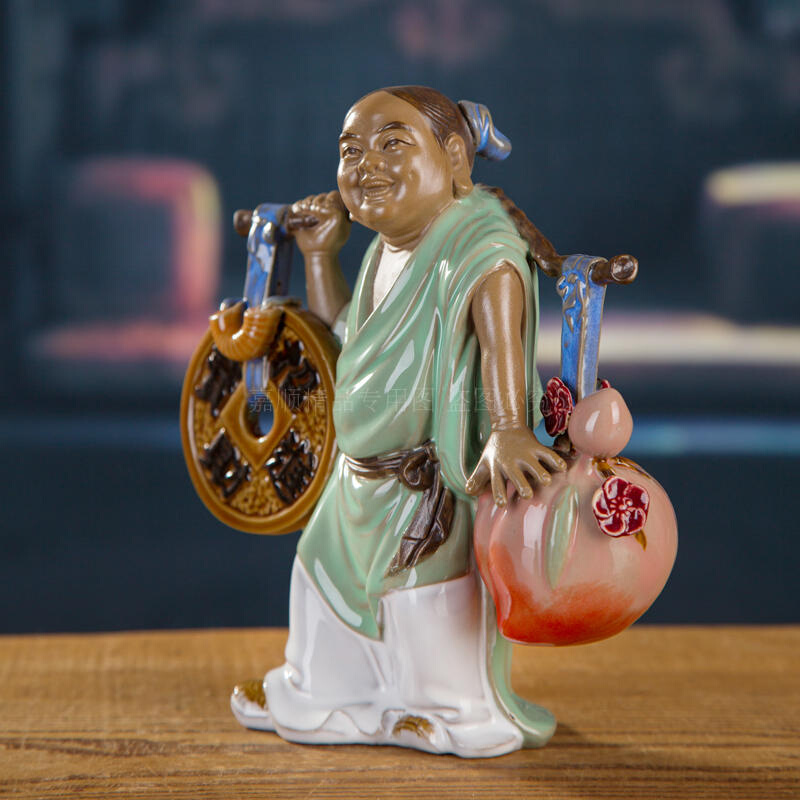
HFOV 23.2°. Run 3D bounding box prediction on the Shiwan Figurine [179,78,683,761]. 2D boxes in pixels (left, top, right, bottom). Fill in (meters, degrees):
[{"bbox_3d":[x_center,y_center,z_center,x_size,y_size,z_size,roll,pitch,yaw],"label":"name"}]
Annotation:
[{"bbox_3d":[0.103,0.072,4.046,0.537,1.907,0.681,-9,20,-30],"label":"Shiwan Figurine"}]
